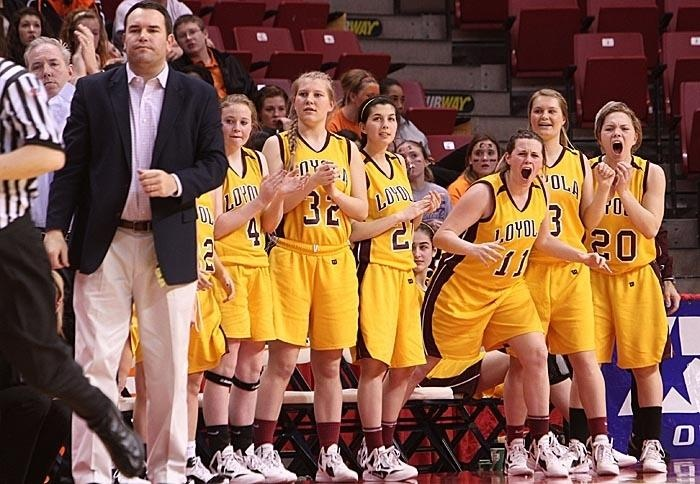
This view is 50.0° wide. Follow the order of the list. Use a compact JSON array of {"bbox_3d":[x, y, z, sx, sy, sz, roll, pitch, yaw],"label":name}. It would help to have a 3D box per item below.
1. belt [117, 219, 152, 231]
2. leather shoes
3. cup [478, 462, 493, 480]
[{"bbox_3d":[-1.087,-0.088,3.805,0.153,0.053,0.024,2,-6,1],"label":"belt"},{"bbox_3d":[-1.031,0.909,3.482,0.420,0.147,0.173,56,-12,-26],"label":"leather shoes"},{"bbox_3d":[1.003,1.679,5.574,0.114,0.166,0.117,1,-4,0],"label":"cup"}]
